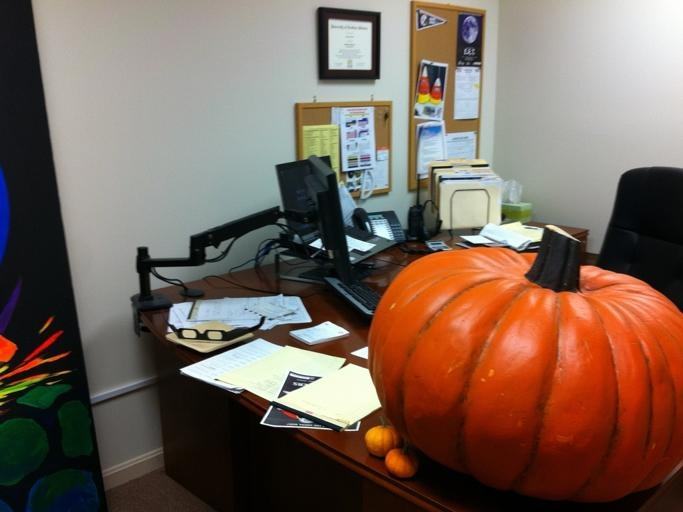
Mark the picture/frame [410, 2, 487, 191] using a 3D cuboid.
[{"bbox_3d":[0.619,-0.945,3.009,0.158,1.029,0.676,14,25,40],"label":"picture/frame"}]

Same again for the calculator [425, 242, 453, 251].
[{"bbox_3d":[0.462,-0.047,2.438,0.094,0.010,0.054,0,27,-23],"label":"calculator"}]

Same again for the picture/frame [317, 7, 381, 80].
[{"bbox_3d":[0.020,-1.074,2.515,0.390,0.327,0.030,-9,18,-35],"label":"picture/frame"}]

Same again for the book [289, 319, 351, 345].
[{"bbox_3d":[-0.071,0.250,1.666,0.179,0.017,0.126,-13,21,-28],"label":"book"}]

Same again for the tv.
[{"bbox_3d":[-0.059,-0.141,1.928,0.041,0.425,0.334,-15,21,-11],"label":"tv"}]

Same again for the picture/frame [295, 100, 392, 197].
[{"bbox_3d":[-0.005,-0.552,2.493,0.529,0.636,0.044,-14,16,-33],"label":"picture/frame"}]

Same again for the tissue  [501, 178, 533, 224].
[{"bbox_3d":[1.027,-0.320,3.067,0.122,0.234,0.171,-18,14,-40],"label":"tissue "}]
